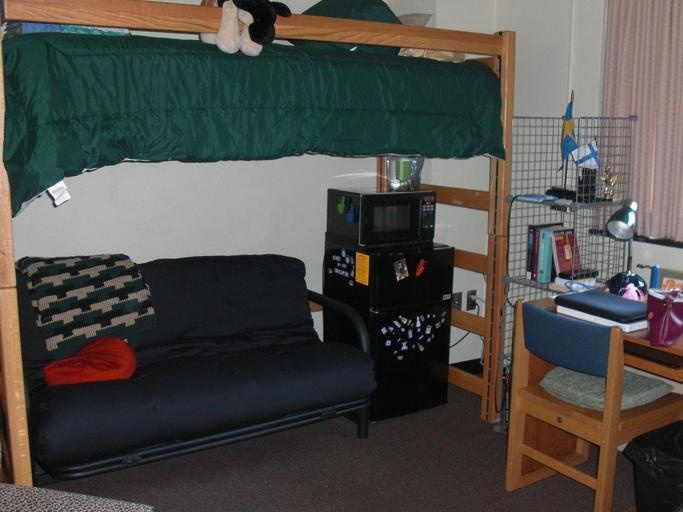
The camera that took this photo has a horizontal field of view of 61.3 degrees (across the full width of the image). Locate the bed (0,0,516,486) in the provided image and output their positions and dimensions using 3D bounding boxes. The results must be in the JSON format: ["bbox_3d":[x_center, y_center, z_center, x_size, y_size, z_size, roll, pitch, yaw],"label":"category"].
[{"bbox_3d":[-0.453,-0.016,3.054,2.502,2.078,0.935,-7,11,-34],"label":"bed"}]

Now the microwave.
[{"bbox_3d":[0.235,-0.312,3.628,0.448,0.289,0.450,-5,11,-28],"label":"microwave"}]

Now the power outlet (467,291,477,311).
[{"bbox_3d":[1.014,0.342,4.498,0.137,0.193,0.015,-7,13,-33],"label":"power outlet"}]

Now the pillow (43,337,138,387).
[{"bbox_3d":[-1.269,0.551,2.934,0.310,0.104,0.239,-9,29,-28],"label":"pillow"}]

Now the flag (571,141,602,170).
[{"bbox_3d":[1.423,-0.579,3.322,0.159,0.160,0.139,-3,14,-11],"label":"flag"}]

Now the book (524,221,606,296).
[{"bbox_3d":[1.252,-0.013,3.360,0.417,0.419,0.345,-8,13,-32],"label":"book"}]

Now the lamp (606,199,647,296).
[{"bbox_3d":[1.579,-0.068,3.168,0.219,0.497,0.492,7,16,28],"label":"lamp"}]
